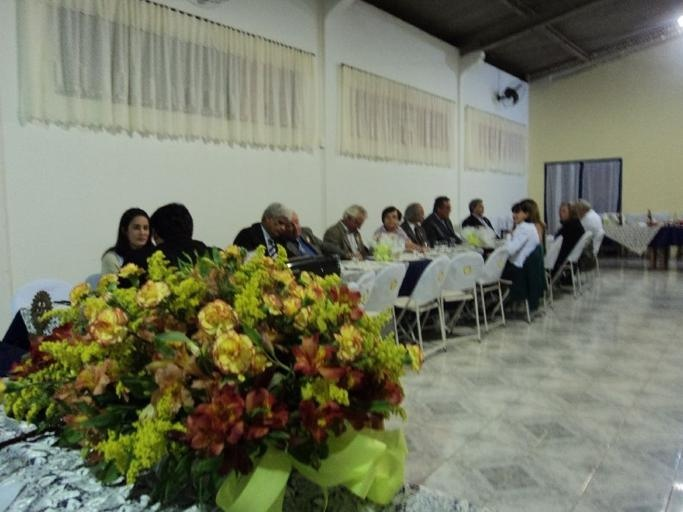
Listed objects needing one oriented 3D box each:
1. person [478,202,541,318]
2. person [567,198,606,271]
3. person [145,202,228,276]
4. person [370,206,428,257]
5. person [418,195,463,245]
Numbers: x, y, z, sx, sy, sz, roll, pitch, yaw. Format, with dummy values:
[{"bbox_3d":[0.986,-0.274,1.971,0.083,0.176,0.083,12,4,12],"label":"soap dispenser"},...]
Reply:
[{"bbox_3d":[1.892,-0.014,5.192,0.547,1.228,0.523,3,9,34],"label":"person"},{"bbox_3d":[4.176,-0.313,8.324,0.688,1.343,0.707,2,16,21],"label":"person"},{"bbox_3d":[-1.177,-0.202,3.522,0.547,0.319,0.834,15,22,-28],"label":"person"},{"bbox_3d":[0.789,-0.371,6.635,0.801,0.983,0.548,1,6,38],"label":"person"},{"bbox_3d":[1.849,-0.461,8.650,0.591,1.310,0.720,3,14,32],"label":"person"}]
